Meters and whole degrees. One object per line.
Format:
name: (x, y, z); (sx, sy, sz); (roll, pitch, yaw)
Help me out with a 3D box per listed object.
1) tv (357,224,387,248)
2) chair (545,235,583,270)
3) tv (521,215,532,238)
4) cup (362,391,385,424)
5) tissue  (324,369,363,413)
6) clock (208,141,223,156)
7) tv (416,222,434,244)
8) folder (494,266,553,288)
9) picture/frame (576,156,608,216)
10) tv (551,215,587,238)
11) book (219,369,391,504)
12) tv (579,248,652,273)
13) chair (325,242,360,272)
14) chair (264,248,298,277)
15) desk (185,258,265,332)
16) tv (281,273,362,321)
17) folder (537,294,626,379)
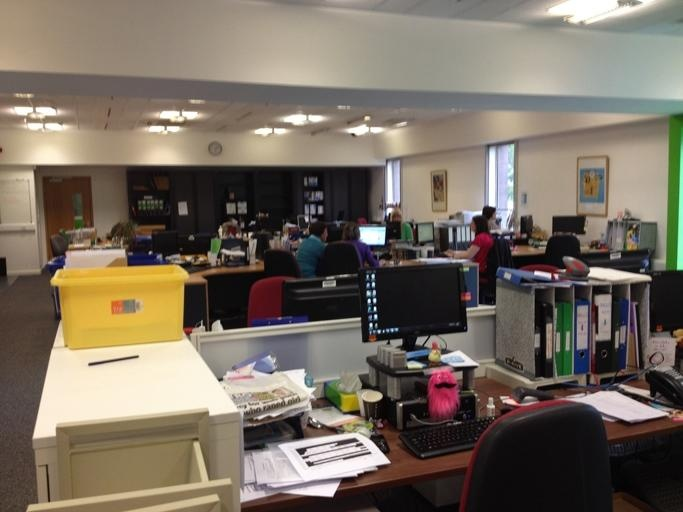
tv: (0.477, -0.354, 8.679); (0.548, 0.436, 0.302); (0, 8, 5)
chair: (2.488, -0.044, 6.086); (0.316, 0.498, 0.389); (7, 9, 32)
tv: (2.925, -0.458, 8.549); (0.193, 0.316, 0.381); (0, 11, 18)
cup: (0.146, 0.711, 2.574); (0.104, 0.125, 0.127); (6, 12, 26)
tissue : (0.003, 0.675, 2.702); (0.148, 0.159, 0.215); (-1, 5, -29)
clock: (-2.907, -2.465, 12.396); (0.341, 0.334, 0.071); (-9, 12, -31)
tv: (1.314, -0.357, 8.593); (0.292, 0.312, 0.112); (-7, 10, -42)
folder: (1.053, 0.115, 3.044); (0.315, 0.082, 0.292); (-3, 10, 2)
picture/frame: (3.595, -1.000, 7.747); (0.143, 0.846, 0.640); (-5, 10, -11)
tv: (3.220, -0.444, 7.689); (0.487, 0.345, 0.275); (3, 8, 30)
book: (-0.119, 0.690, 2.157); (0.466, 0.122, 0.478); (0, 13, -22)
tv: (2.593, 0.047, 5.054); (0.495, 0.269, 0.477); (1, -1, -20)
chair: (-0.022, 0.018, 6.261); (0.297, 0.479, 0.376); (3, 10, 19)
chair: (-0.697, 0.091, 5.984); (0.299, 0.446, 0.346); (6, 8, 37)
desk: (-1.458, 0.576, 6.601); (0.929, 0.983, 0.735); (0, 4, -21)
tv: (-0.124, 0.251, 3.131); (0.460, 0.249, 0.103); (-6, 10, -14)
folder: (1.382, 0.356, 3.185); (0.386, 0.571, 0.559); (-1, 4, 3)
